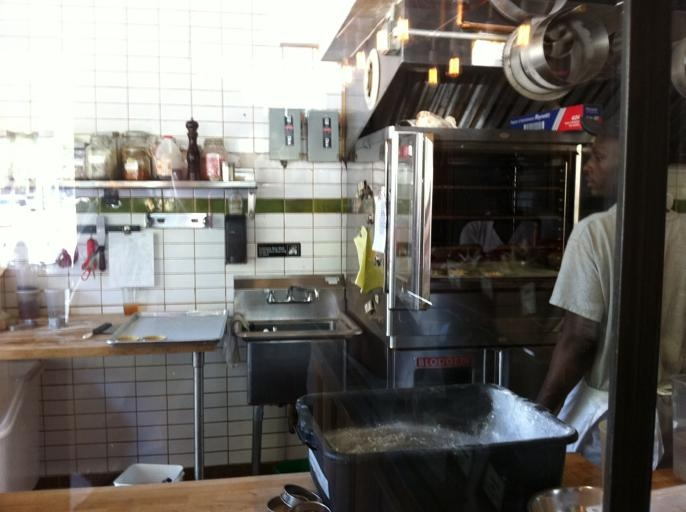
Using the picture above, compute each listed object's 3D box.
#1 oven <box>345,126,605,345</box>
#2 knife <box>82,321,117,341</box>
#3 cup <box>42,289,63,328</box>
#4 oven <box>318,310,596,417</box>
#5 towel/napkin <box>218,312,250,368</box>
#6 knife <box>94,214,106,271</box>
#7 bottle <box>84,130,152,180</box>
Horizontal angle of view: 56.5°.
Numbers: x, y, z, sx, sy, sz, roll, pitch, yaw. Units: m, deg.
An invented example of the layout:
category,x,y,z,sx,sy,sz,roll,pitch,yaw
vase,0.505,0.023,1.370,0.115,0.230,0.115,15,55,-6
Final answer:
category,x,y,z,sx,sy,sz,roll,pitch,yaw
oven,0.230,-0.014,1.204,0.404,0.426,0.322,2,2,-21
knife,-0.409,0.123,1.068,0.046,0.012,0.030,-44,-9,-49
cup,-0.481,0.086,1.064,0.030,0.070,0.022,-5,5,-25
oven,0.262,0.191,1.200,0.343,0.247,0.232,-2,2,2
towel/napkin,-0.179,0.140,1.056,0.045,0.082,0.115,-4,4,-10
knife,-0.414,-0.024,1.094,0.016,0.098,0.043,-3,4,-3
bottle,-0.375,-0.170,1.078,0.109,0.074,0.133,-7,6,-40
